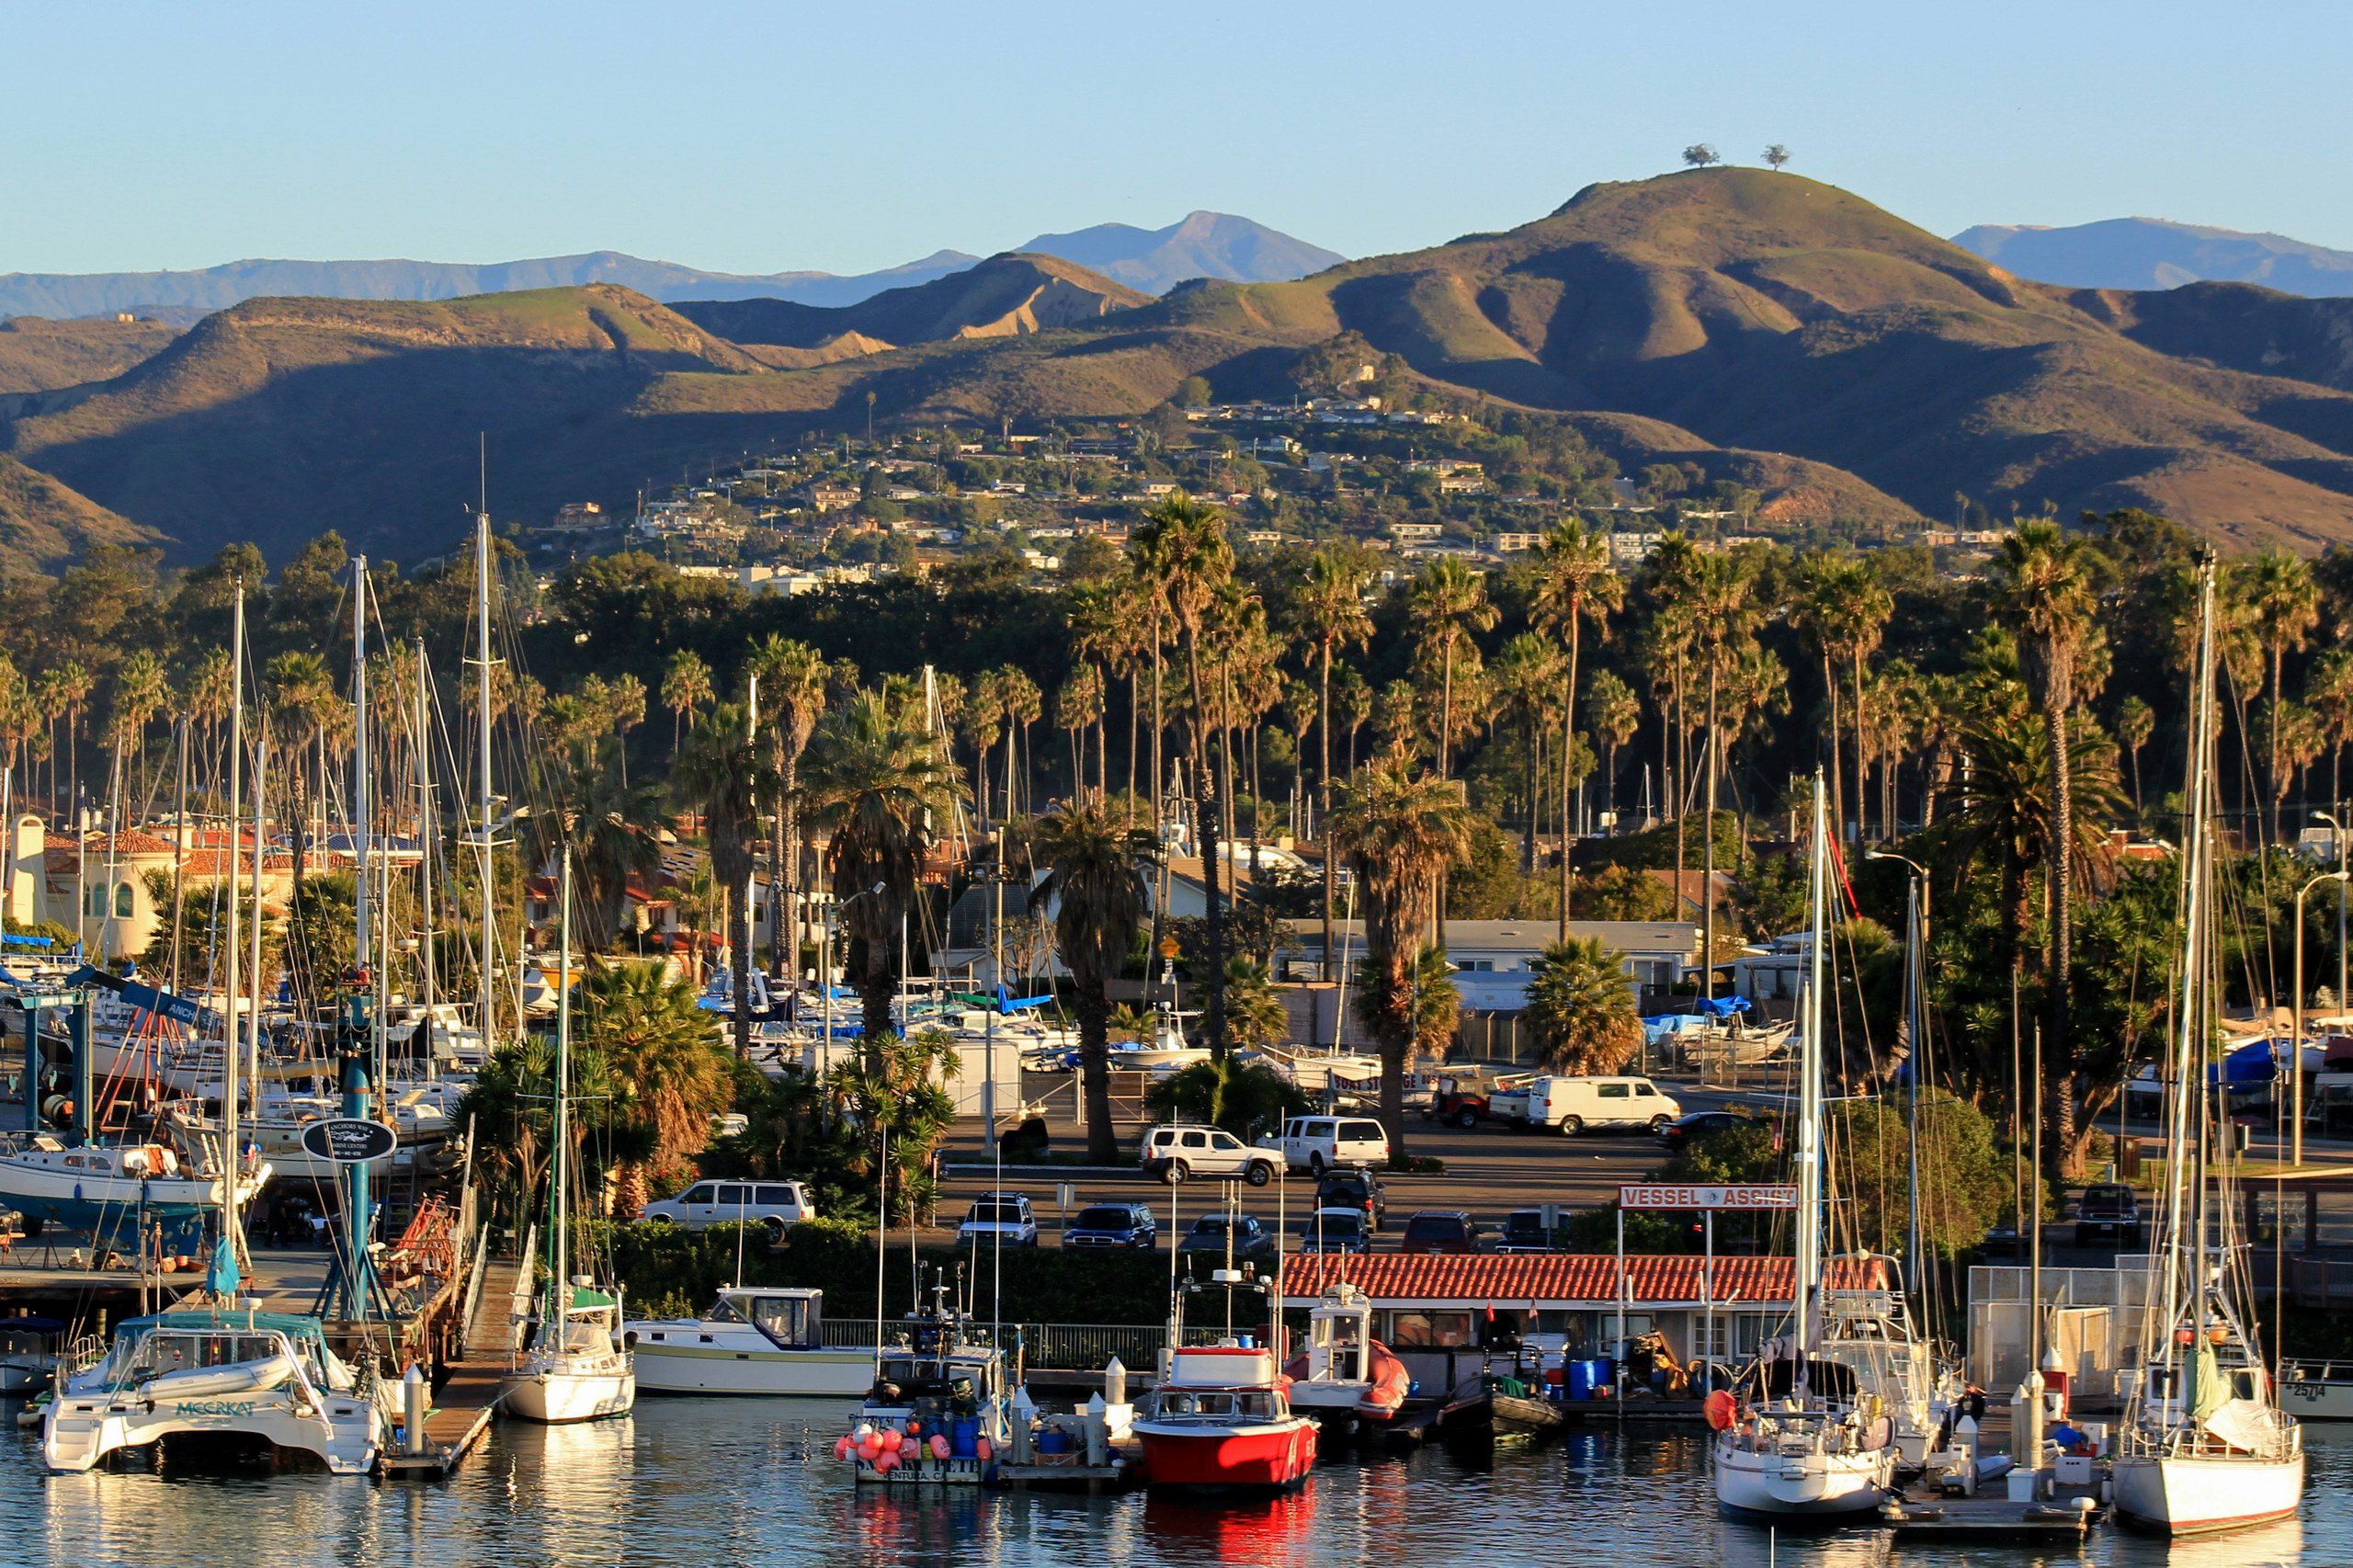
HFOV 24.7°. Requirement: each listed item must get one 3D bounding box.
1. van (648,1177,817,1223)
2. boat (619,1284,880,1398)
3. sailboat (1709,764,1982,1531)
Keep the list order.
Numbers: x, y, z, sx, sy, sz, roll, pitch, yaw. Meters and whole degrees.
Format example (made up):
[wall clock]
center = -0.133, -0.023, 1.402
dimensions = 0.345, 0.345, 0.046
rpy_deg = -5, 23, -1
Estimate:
[van]
center = -23.042, 21.957, 284.019
dimensions = 6.891, 2.708, 3.448
rpy_deg = 3, -2, 6
[boat]
center = -21.909, 28.831, 280.939
dimensions = 16.559, 6.662, 5.170
rpy_deg = -1, 0, 1
[sailboat]
center = 32.599, 18.593, 271.883
dimensions = 12.480, 37.385, 6.771
rpy_deg = 5, -12, -30
